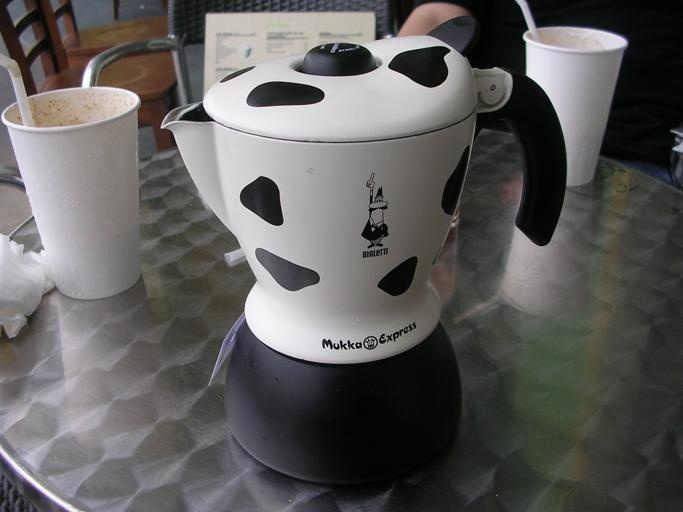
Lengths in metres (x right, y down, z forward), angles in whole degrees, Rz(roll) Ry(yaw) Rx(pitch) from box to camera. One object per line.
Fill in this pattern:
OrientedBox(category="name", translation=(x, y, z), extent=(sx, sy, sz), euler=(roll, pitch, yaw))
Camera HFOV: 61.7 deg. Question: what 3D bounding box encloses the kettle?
OrientedBox(category="kettle", translation=(0.033, -0.004, 0.542), extent=(0.323, 0.387, 0.234), euler=(-4, 26, -3))
